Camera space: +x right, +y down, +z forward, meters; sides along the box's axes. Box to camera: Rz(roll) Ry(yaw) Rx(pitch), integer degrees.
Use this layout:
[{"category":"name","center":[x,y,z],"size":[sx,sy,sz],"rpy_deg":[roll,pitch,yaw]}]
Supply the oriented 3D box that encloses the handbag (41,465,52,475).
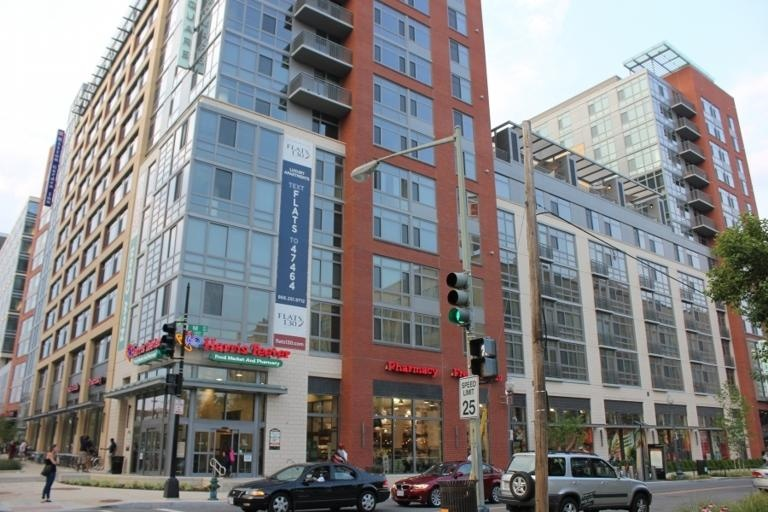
[{"category":"handbag","center":[-17.676,11.140,31.213],"size":[0.794,0.530,0.356],"rpy_deg":[-21,-30,35]}]

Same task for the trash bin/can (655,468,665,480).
[{"category":"trash bin/can","center":[23.928,18.878,51.870],"size":[1.013,0.950,0.805],"rpy_deg":[5,-21,-13]}]

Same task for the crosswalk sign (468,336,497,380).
[{"category":"crosswalk sign","center":[4.065,4.045,23.777],"size":[0.871,1.494,0.932],"rpy_deg":[13,-23,-38]}]

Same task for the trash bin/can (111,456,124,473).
[{"category":"trash bin/can","center":[-19.589,15.278,43.938],"size":[0.828,1.170,0.673],"rpy_deg":[8,-26,-21]}]

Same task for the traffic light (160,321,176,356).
[{"category":"traffic light","center":[-12.193,4.643,33.699],"size":[0.757,2.001,0.655],"rpy_deg":[1,0,-14]}]
